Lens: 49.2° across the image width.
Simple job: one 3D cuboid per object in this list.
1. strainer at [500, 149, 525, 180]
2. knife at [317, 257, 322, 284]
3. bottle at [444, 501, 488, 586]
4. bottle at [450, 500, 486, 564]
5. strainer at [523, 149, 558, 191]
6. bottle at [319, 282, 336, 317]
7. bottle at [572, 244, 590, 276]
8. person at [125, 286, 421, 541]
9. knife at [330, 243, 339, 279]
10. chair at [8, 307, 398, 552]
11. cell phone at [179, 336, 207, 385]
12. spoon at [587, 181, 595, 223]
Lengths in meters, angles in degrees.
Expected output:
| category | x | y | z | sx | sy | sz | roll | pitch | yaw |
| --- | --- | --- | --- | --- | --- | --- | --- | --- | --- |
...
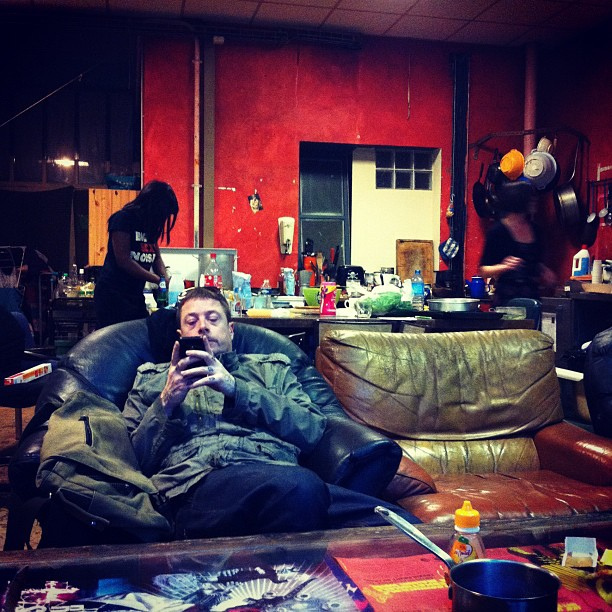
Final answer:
| category | x | y | z | sx | sy | sz | roll | pitch | yaw |
| --- | --- | --- | --- | --- | --- | --- | --- | --- | --- |
| strainer | 1.830 | -1.264 | 5.926 | 0.210 | 0.275 | 0.127 | 8 | 7 | 44 |
| knife | 0.117 | -0.326 | 5.842 | 0.050 | 0.190 | 0.069 | 5 | -12 | -10 |
| bottle | 0.305 | 0.468 | 1.278 | 0.067 | 0.190 | 0.070 | 2 | -1 | 0 |
| bottle | 0.305 | 0.421 | 1.257 | 0.063 | 0.133 | 0.116 | 2 | 5 | 15 |
| strainer | 2.102 | -1.223 | 6.001 | 0.290 | 0.366 | 0.150 | 3 | 5 | 21 |
| bottle | 0.110 | -0.038 | 3.422 | 0.086 | 0.169 | 0.193 | 1 | 5 | 0 |
| bottle | 2.118 | -0.333 | 5.133 | 0.122 | 0.198 | 0.280 | 3 | 5 | 22 |
| person | -0.176 | 0.294 | 1.938 | 0.538 | 0.752 | 1.204 | 3 | -2 | -26 |
| knife | 0.243 | -0.384 | 5.802 | 0.033 | 0.346 | 0.099 | 9 | 27 | -3 |
| chair | -0.396 | 0.306 | 2.059 | 0.874 | 0.767 | 1.045 | 4 | -9 | -15 |
| cell phone | -0.333 | 0.136 | 1.937 | 0.065 | 0.135 | 0.014 | -1 | 40 | -13 |
| spoon | 2.442 | -0.886 | 5.714 | 0.049 | 0.349 | 0.120 | 2 | 5 | 20 |
